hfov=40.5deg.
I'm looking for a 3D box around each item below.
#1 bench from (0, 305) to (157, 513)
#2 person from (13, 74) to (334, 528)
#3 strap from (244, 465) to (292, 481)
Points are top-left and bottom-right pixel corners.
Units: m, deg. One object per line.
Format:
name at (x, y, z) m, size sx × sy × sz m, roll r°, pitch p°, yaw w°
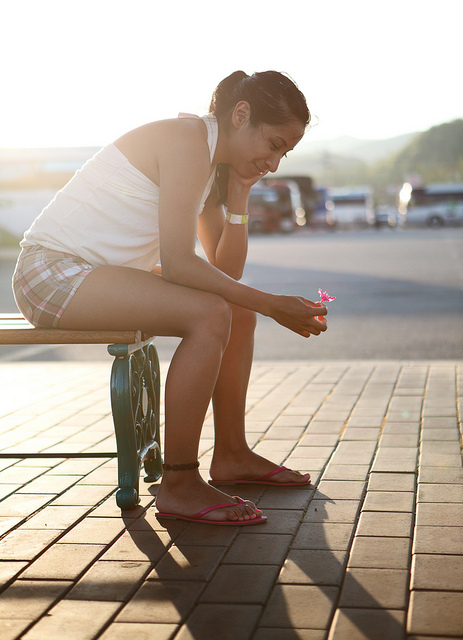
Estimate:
bench at (-0.652, 0.398, 2.642) m, size 0.547 × 0.369 × 0.842 m, roll 0°, pitch 1°, yaw -1°
person at (-0.176, -0.093, 2.118) m, size 0.857 × 1.457 × 0.746 m, roll -5°, pitch 6°, yaw -34°
strap at (0.131, 0.564, 2.310) m, size 0.158 × 0.032 × 0.051 m, roll -7°, pitch -1°, yaw 11°
